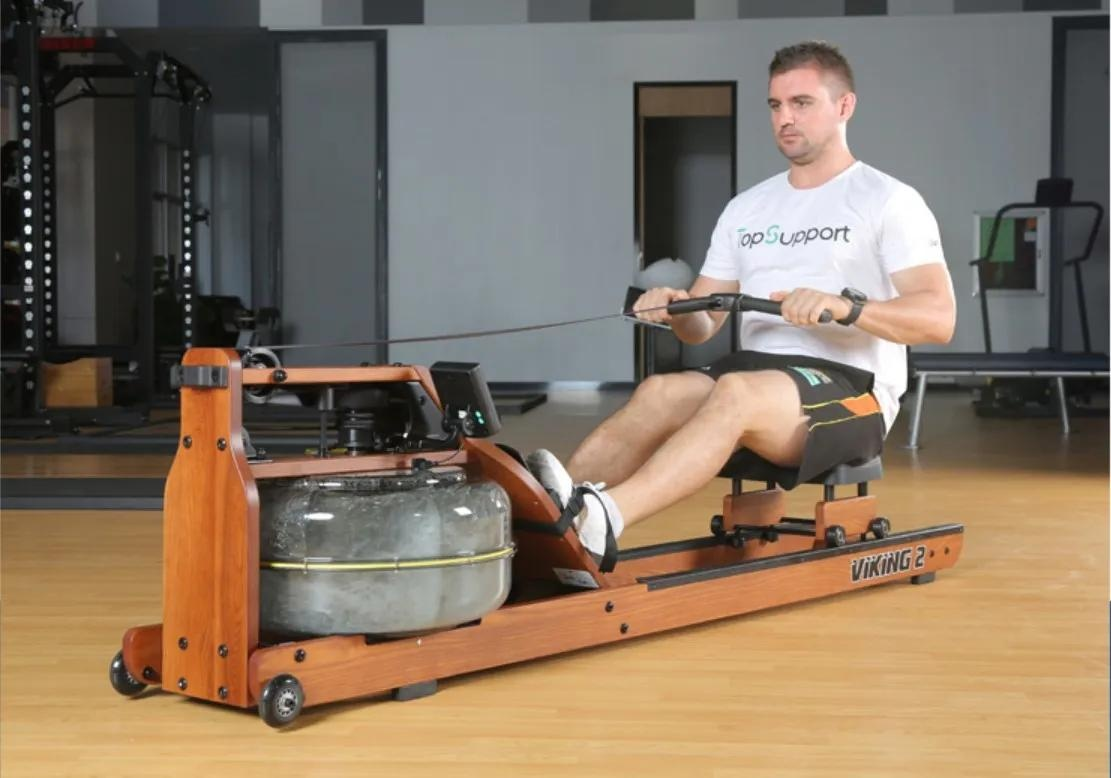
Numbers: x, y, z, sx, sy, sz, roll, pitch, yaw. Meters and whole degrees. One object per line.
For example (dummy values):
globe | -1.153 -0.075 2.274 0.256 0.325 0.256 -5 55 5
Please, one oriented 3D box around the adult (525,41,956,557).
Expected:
adult | 0.407 -0.231 3.041 1.158 1.084 0.730 -9 12 -42

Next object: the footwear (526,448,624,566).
footwear | 0.062 0.245 2.773 0.112 0.267 0.167 -39 10 19

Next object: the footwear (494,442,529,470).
footwear | -0.092 0.130 2.717 0.063 0.023 0.054 34 -7 14

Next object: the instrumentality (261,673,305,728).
instrumentality | -0.513 0.588 2.458 0.058 0.102 0.109 -1 -2 37

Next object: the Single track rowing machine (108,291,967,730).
Single track rowing machine | 0.230 0.196 3.238 2.362 0.746 0.690 -4 4 -41

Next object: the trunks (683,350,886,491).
trunks | 0.615 0.042 3.119 0.360 0.137 0.392 5 17 20

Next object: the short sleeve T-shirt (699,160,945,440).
short sleeve T-shirt | 0.672 -0.266 3.288 0.327 0.587 0.749 -4 7 -42

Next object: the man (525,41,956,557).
man | 0.380 -0.233 3.066 1.149 1.080 0.728 -8 11 -36
